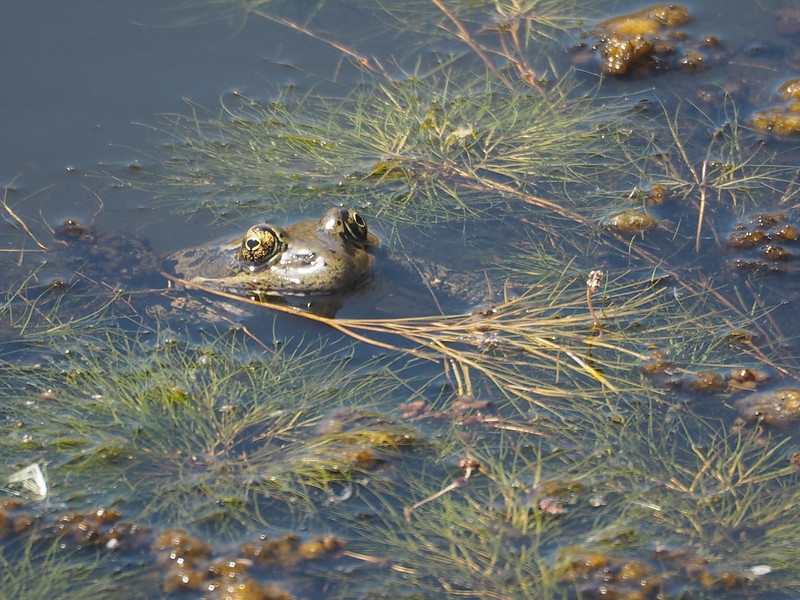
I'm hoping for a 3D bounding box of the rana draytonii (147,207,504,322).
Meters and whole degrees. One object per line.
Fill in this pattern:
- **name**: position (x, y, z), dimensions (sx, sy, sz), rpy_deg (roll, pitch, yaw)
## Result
- **rana draytonii**: position (-0.695, -0.162, 7.963), dimensions (2.248, 1.218, 2.407), rpy_deg (-2, 29, -9)
